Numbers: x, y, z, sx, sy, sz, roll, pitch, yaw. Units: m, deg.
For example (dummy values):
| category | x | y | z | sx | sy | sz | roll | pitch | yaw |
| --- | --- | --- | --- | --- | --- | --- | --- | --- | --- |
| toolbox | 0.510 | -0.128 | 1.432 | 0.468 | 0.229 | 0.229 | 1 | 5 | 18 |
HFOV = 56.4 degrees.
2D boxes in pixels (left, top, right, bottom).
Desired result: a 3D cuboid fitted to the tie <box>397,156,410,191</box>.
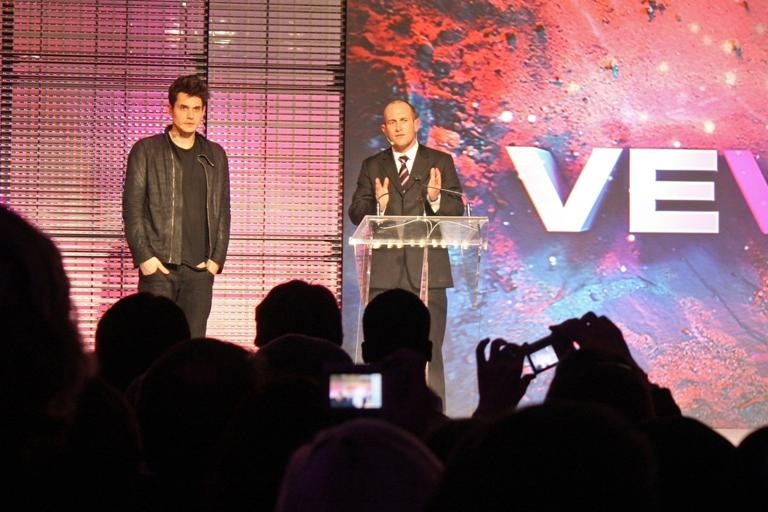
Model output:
| category | x | y | z | sx | sy | sz | roll | pitch | yaw |
| --- | --- | --- | --- | --- | --- | --- | --- | --- | --- |
| tie | 0.124 | -0.513 | 4.450 | 0.047 | 0.244 | 0.041 | -6 | -26 | 13 |

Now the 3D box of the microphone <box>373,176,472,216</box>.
| category | x | y | z | sx | sy | sz | roll | pitch | yaw |
| --- | --- | --- | --- | --- | --- | --- | --- | --- | --- |
| microphone | 0.197 | -0.364 | 4.114 | 0.439 | 0.188 | 0.265 | -1 | 1 | -10 |
